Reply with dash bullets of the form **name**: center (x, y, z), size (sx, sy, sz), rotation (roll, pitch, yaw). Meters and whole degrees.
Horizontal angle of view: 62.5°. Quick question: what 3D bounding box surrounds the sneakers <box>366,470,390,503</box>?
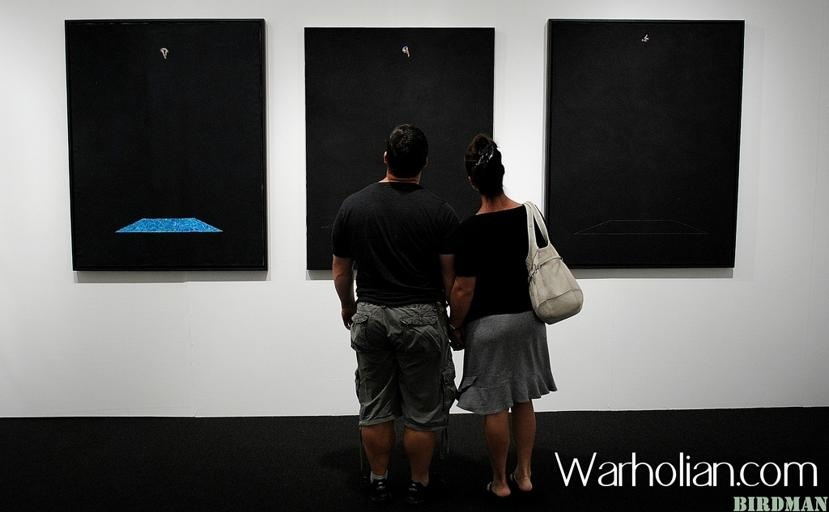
- **sneakers**: center (-0.278, 1.821, 5.378), size (0.118, 0.104, 0.248), rotation (0, 5, -5)

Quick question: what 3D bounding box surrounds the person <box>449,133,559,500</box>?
- **person**: center (0.673, 0.482, 5.318), size (0.792, 2.796, 0.288), rotation (2, 6, 4)

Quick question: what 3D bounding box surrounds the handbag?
- **handbag**: center (1.049, 0.222, 5.286), size (0.366, 0.638, 0.243), rotation (-17, -5, 1)

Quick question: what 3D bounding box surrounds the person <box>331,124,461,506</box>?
- **person**: center (-0.156, 0.451, 5.333), size (0.964, 2.887, 0.340), rotation (2, 6, 3)

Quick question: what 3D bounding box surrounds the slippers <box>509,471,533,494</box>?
- **slippers**: center (0.839, 1.827, 5.427), size (0.091, 0.063, 0.238), rotation (-3, 37, 0)
